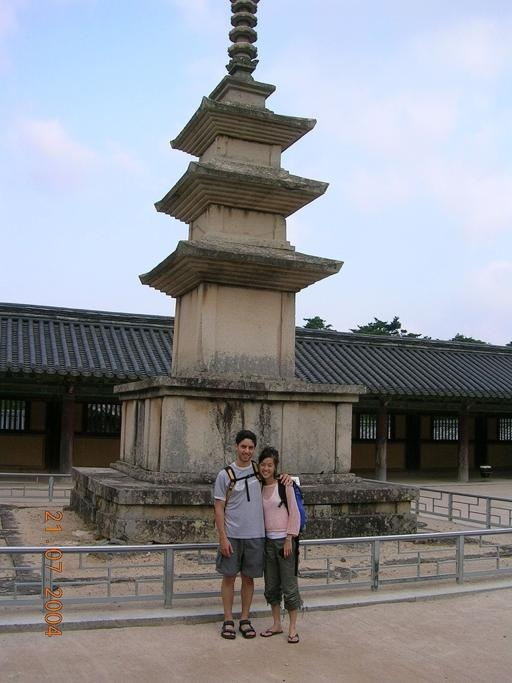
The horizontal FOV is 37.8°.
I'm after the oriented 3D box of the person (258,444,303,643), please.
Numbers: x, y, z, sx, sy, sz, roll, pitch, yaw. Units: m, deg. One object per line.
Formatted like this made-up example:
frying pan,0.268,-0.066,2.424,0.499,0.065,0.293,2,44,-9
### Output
person,0.145,1.258,4.731,0.297,1.145,0.426,2,-6,0
